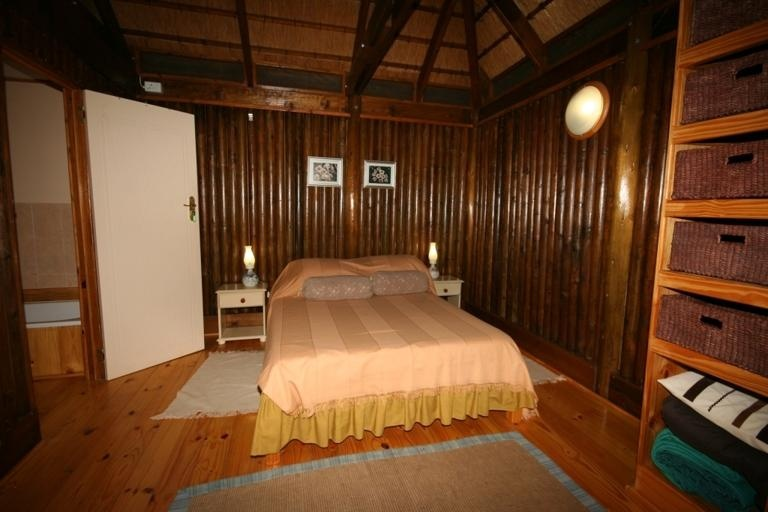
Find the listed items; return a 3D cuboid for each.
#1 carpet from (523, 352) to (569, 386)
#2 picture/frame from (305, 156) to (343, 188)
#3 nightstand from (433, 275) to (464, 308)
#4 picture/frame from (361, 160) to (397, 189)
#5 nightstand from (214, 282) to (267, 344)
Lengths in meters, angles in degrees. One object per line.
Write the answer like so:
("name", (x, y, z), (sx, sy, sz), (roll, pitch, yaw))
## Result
("carpet", (1.783, 1.262, 5.343), (0.368, 0.094, 0.516), (-2, 6, 8))
("picture/frame", (-0.818, -1.118, 6.444), (0.420, 0.360, 0.034), (0, 5, -15))
("nightstand", (0.856, 0.427, 6.647), (0.503, 0.500, 0.399), (-1, 5, -8))
("picture/frame", (-0.092, -1.114, 6.622), (0.392, 0.309, 0.019), (-1, 6, -12))
("nightstand", (-1.773, 0.720, 6.136), (0.651, 0.643, 0.564), (-1, 3, -8))
